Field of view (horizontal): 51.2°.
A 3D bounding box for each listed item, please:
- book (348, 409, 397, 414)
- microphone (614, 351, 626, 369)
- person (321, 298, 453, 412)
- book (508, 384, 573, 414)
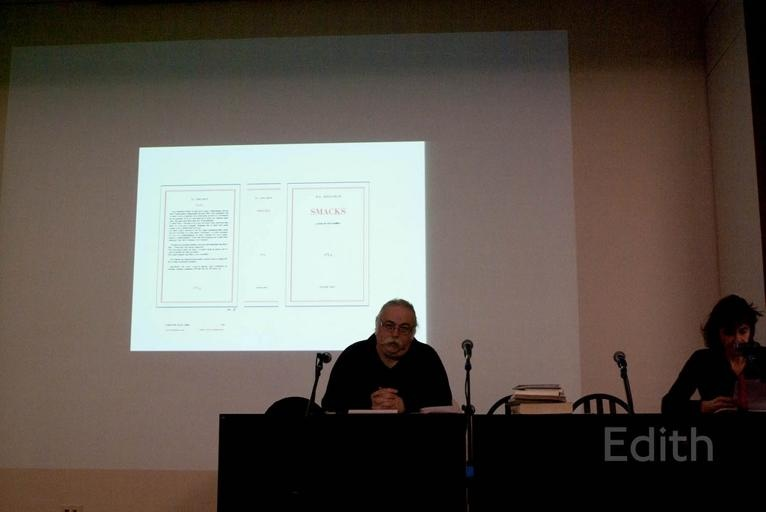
[{"bbox_3d":[-0.060,0.951,4.899,0.290,0.014,0.252,0,-5,0],"label":"book"},{"bbox_3d":[1.643,0.718,5.510,0.065,0.106,0.206,-2,-5,20],"label":"microphone"},{"bbox_3d":[0.065,0.843,6.233,0.985,0.963,0.574,5,-11,-5],"label":"person"},{"bbox_3d":[0.970,0.896,4.963,0.388,0.169,0.438,-1,-5,9],"label":"book"}]
